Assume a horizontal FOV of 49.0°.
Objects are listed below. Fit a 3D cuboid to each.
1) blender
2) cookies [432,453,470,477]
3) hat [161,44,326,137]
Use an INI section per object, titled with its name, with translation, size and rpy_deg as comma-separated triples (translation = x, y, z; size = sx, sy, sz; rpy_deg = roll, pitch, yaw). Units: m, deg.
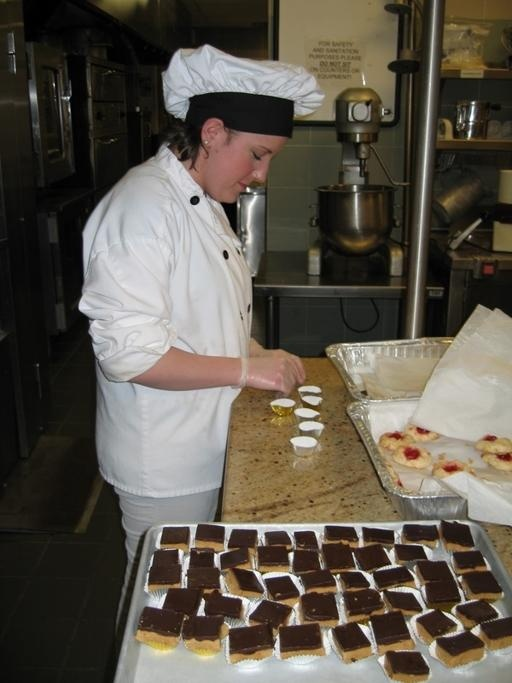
[blender]
translation = 0.455, -0.714, 2.517
size = 0.519, 0.754, 0.480
rpy_deg = -7, 17, -19
[cookies]
translation = 0.353, 0.223, 1.030
size = 0.068, 0.021, 0.069
rpy_deg = -2, 16, 6
[hat]
translation = 0.005, -0.483, 1.130
size = 0.249, 0.117, 0.219
rpy_deg = 1, -8, 7
